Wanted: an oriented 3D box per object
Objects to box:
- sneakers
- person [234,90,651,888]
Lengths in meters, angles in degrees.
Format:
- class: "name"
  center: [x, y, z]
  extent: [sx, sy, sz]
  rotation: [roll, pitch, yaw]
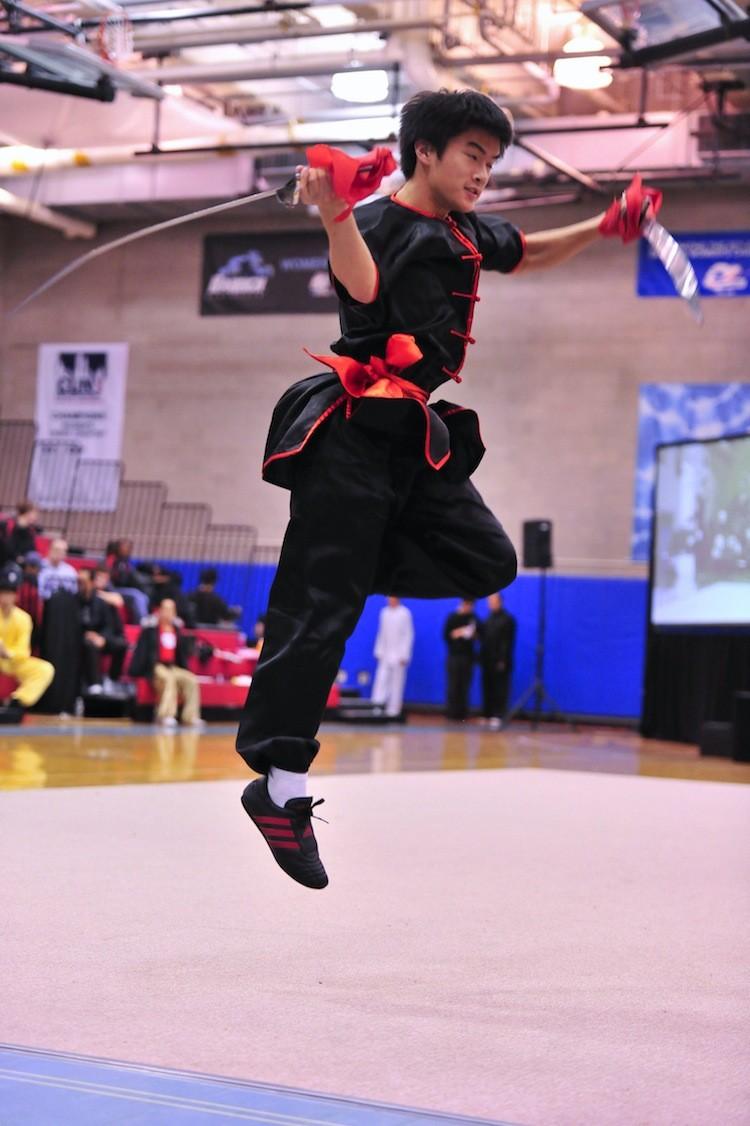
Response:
- class: "sneakers"
  center: [-0.137, 0.406, 1.790]
  extent: [0.119, 0.174, 0.168]
  rotation: [2, -3, -6]
- class: "person"
  center: [0.006, -0.099, 1.866]
  extent: [0.389, 1.248, 0.673]
  rotation: [1, -3, 25]
